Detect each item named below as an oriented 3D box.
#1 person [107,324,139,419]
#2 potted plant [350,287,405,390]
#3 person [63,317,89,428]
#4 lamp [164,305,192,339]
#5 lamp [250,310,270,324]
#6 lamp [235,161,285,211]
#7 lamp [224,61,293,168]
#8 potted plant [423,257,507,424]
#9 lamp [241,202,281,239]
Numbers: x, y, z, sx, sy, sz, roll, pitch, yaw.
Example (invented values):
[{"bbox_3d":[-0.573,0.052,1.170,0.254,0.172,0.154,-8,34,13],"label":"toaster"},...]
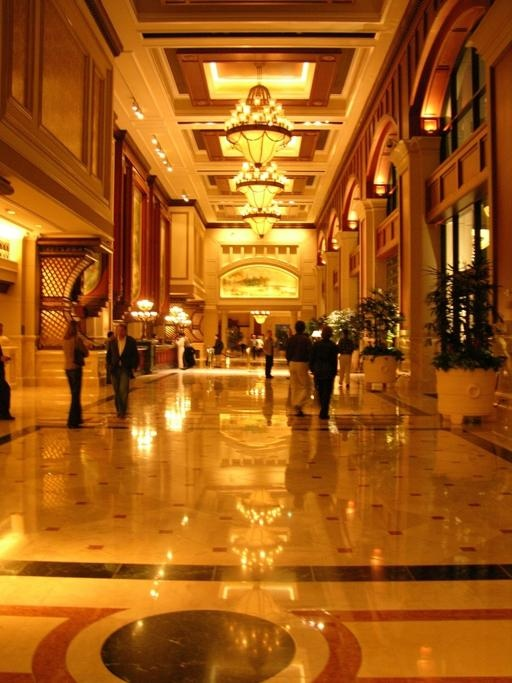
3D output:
[{"bbox_3d":[-2.099,0.448,8.444,0.471,1.462,1.102,1,-2,-15],"label":"person"},{"bbox_3d":[2.882,-0.023,12.677,1.115,2.342,1.390,0,-2,14],"label":"potted plant"},{"bbox_3d":[-2.615,0.411,7.743,0.302,1.507,1.208,1,-2,-19],"label":"person"},{"bbox_3d":[-4.186,-1.086,28.075,1.770,1.953,1.774,0,-2,-3],"label":"lamp"},{"bbox_3d":[0.384,-2.080,44.527,1.069,0.824,1.073,-1,-5,-4],"label":"lamp"},{"bbox_3d":[0.105,-5.533,18.842,1.748,1.698,1.788,1,1,18],"label":"lamp"},{"bbox_3d":[0.076,-6.296,14.971,1.718,2.290,0.904,0,-2,4],"label":"lamp"},{"bbox_3d":[2.935,0.000,7.533,0.989,2.299,0.881,0,-2,23],"label":"potted plant"},{"bbox_3d":[0.155,-5.081,21.554,1.469,1.208,1.480,-1,-2,0],"label":"lamp"}]
